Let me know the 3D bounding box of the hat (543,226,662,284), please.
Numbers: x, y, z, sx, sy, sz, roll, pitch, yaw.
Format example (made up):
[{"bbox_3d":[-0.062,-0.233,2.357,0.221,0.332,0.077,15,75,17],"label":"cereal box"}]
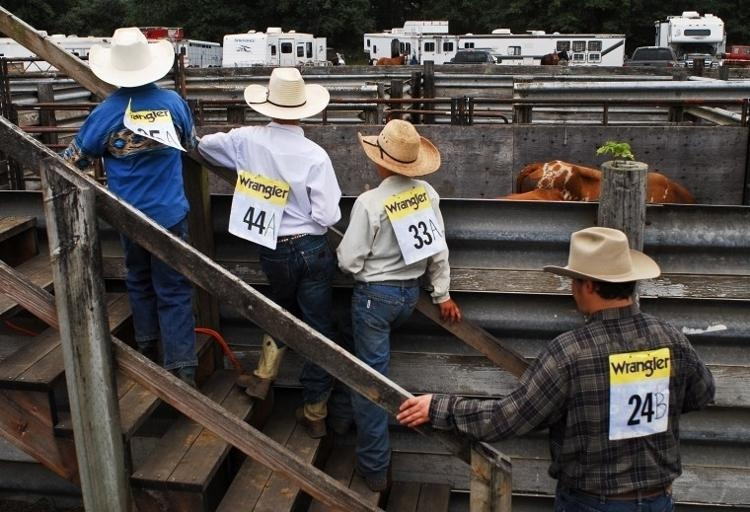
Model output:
[{"bbox_3d":[1.406,0.000,5.280,0.500,0.182,0.435,0,10,38],"label":"hat"}]

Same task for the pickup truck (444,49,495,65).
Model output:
[{"bbox_3d":[3.446,-6.889,28.780,1.457,0.400,4.555,0,16,8],"label":"pickup truck"}]

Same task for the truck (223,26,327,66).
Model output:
[{"bbox_3d":[-3.879,-8.102,32.657,3.967,1.241,1.305,-15,20,-38],"label":"truck"}]

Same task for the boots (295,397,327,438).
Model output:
[{"bbox_3d":[-0.500,1.295,6.701,0.276,0.261,0.150,35,49,27],"label":"boots"}]

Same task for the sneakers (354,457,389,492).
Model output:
[{"bbox_3d":[-0.047,1.666,6.631,0.160,0.160,0.391,-9,27,-28],"label":"sneakers"}]

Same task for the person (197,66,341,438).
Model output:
[{"bbox_3d":[-0.702,-0.005,6.570,0.897,2.847,0.729,0,17,9],"label":"person"}]

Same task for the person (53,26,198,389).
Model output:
[{"bbox_3d":[-1.689,-0.322,6.327,0.917,2.714,0.771,5,18,25],"label":"person"}]

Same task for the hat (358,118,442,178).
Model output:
[{"bbox_3d":[0.196,-0.803,6.372,0.581,0.470,0.435,-5,16,-8],"label":"hat"}]

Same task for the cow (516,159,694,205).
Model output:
[{"bbox_3d":[2.316,-0.736,8.746,1.678,0.456,1.131,0,16,8],"label":"cow"}]

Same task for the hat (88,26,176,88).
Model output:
[{"bbox_3d":[-1.803,-1.467,6.194,0.612,0.431,0.447,-6,17,-14],"label":"hat"}]

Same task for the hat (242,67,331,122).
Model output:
[{"bbox_3d":[-0.686,-1.290,6.467,0.500,0.182,0.525,-5,37,-12],"label":"hat"}]

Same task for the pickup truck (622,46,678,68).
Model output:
[{"bbox_3d":[9.918,-7.127,29.949,1.525,0.518,10.069,3,17,18],"label":"pickup truck"}]

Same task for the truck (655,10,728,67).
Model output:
[{"bbox_3d":[14.870,-10.017,37.924,2.780,3.078,5.302,0,13,11],"label":"truck"}]
